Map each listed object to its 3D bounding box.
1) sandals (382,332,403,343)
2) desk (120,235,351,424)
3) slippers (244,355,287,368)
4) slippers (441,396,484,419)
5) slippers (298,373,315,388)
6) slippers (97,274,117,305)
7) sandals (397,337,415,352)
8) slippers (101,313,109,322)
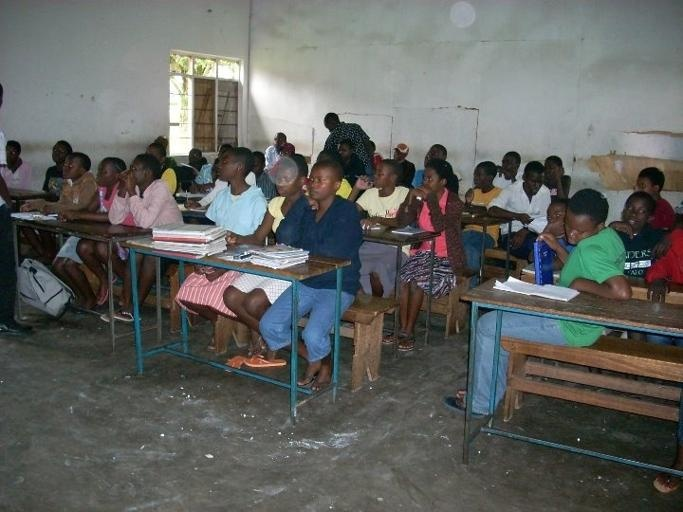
[{"bbox_3d":[0.384,0.634,4.401,0.134,0.044,0.078,2,-2,-22],"label":"sandals"},{"bbox_3d":[-0.645,0.493,3.648,1.121,0.690,0.369,7,13,34],"label":"desk"},{"bbox_3d":[-0.525,0.722,3.870,0.216,0.046,0.115,4,1,-6],"label":"slippers"},{"bbox_3d":[0.750,0.912,3.485,0.078,0.084,0.220,-5,13,-31],"label":"slippers"},{"bbox_3d":[-0.216,0.789,3.589,0.048,0.064,0.154,12,-7,33],"label":"slippers"},{"bbox_3d":[-1.925,0.274,4.651,0.109,0.268,0.075,34,16,36],"label":"slippers"},{"bbox_3d":[0.488,0.683,4.371,0.070,0.069,0.173,-2,-10,22],"label":"sandals"},{"bbox_3d":[-1.882,0.497,4.532,0.052,0.051,0.138,3,-3,-36],"label":"slippers"}]
